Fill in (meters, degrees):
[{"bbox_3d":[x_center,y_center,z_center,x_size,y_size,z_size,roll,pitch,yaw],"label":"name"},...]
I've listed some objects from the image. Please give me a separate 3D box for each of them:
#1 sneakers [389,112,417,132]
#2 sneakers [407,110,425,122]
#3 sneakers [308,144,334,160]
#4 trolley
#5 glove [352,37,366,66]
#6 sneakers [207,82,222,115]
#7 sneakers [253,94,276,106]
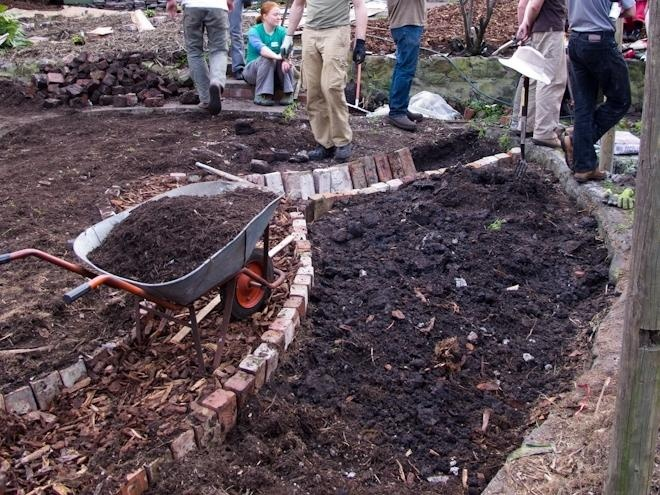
[{"bbox_3d":[0.993,-1.705,7.343,0.440,0.204,0.173,23,51,29],"label":"sneakers"},{"bbox_3d":[1.184,-1.816,7.596,0.270,0.120,0.100,13,52,15],"label":"sneakers"},{"bbox_3d":[-0.120,-1.132,6.429,0.372,0.159,0.133,-12,40,-25],"label":"sneakers"},{"bbox_3d":[-0.946,0.093,4.142,1.023,1.259,2.298,23,36,28],"label":"trolley"},{"bbox_3d":[0.331,-2.232,6.269,0.173,0.311,0.119,1,16,-6],"label":"glove"},{"bbox_3d":[-1.485,-1.920,7.069,0.150,0.403,0.166,4,23,-1],"label":"sneakers"},{"bbox_3d":[-0.953,-2.155,7.980,0.125,0.145,0.329,-9,10,-21],"label":"sneakers"}]
